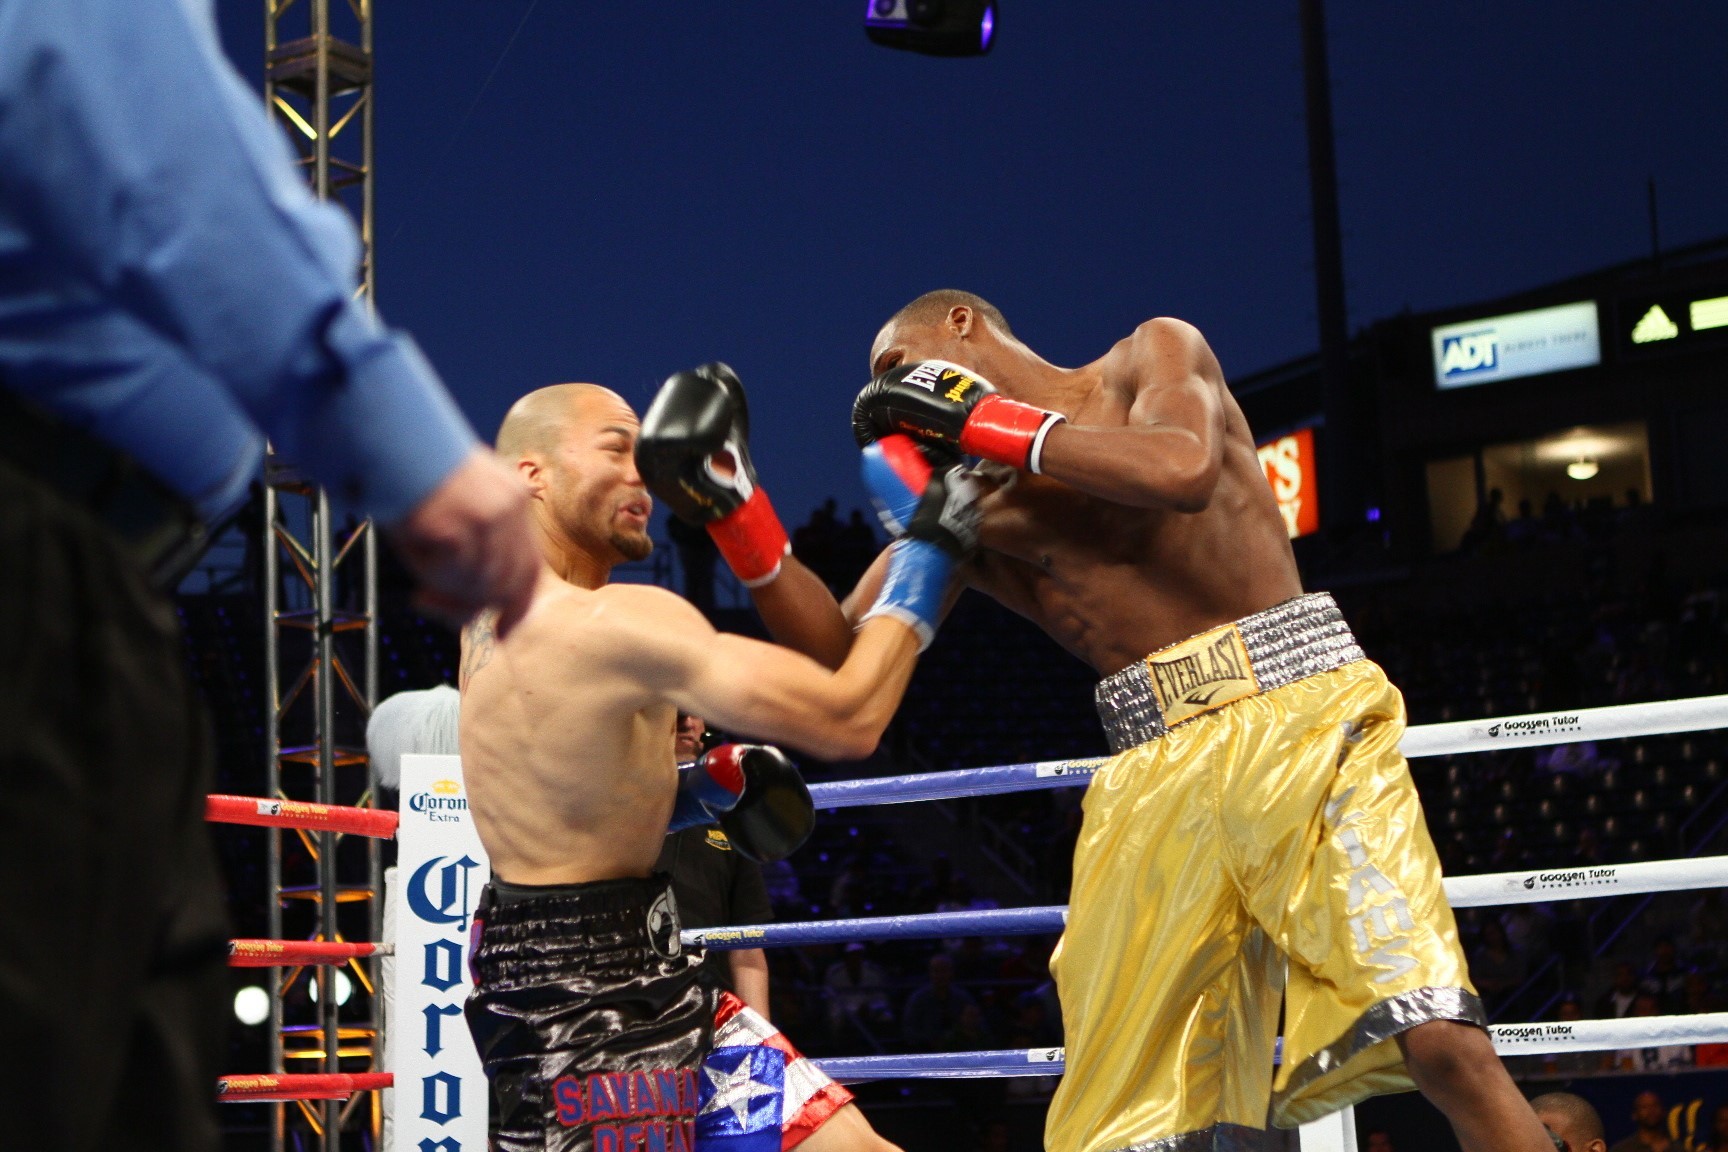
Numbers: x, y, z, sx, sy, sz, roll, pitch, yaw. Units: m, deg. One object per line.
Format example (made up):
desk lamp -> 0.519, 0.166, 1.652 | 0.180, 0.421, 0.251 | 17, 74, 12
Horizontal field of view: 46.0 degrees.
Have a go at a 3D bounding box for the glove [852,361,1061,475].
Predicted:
glove -> 0.254, -0.437, 5.542 | 0.470, 0.201, 0.335 | 2, 15, 36

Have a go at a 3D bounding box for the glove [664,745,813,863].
glove -> -0.317, 0.620, 5.668 | 0.425, 0.192, 0.255 | 4, 25, 37
